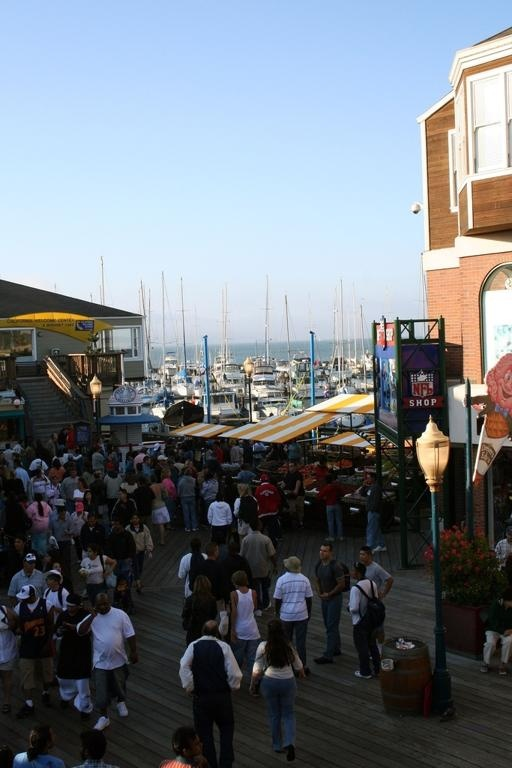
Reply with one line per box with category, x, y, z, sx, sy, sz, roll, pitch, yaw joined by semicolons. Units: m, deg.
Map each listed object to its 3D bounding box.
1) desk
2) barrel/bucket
desk;2.534;2.994;17.818;1.498;0.607;1.849;-6;4;-32
barrel/bucket;1.526;3.085;7.863;0.568;0.681;0.584;1;1;0
